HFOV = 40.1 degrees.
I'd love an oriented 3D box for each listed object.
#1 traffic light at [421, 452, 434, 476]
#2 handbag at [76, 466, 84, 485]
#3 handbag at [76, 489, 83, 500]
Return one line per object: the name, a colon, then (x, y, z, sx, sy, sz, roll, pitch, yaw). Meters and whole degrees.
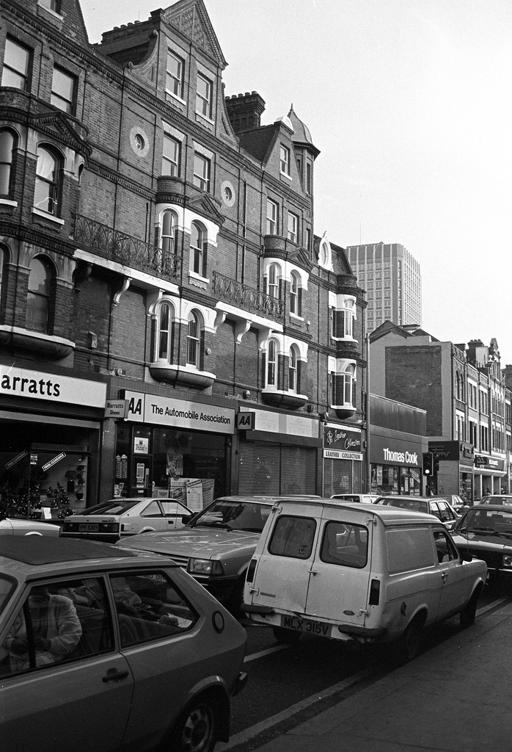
traffic light: (8.554, 4.372, 34.702, 0.514, 1.141, 1.988, 0, -8, 16)
handbag: (-5.026, 2.894, 20.328, 0.071, 0.511, 0.296, -2, -8, 27)
handbag: (-5.041, 3.437, 20.409, 0.147, 0.368, 0.277, -4, -5, 39)
